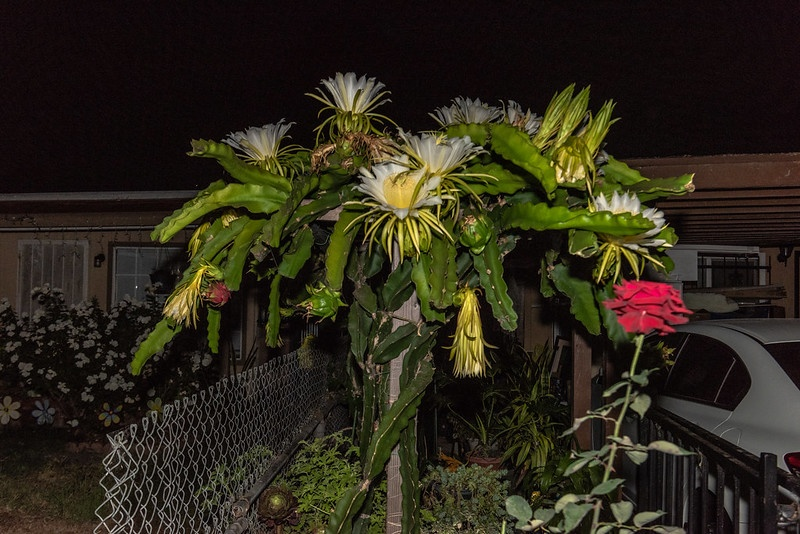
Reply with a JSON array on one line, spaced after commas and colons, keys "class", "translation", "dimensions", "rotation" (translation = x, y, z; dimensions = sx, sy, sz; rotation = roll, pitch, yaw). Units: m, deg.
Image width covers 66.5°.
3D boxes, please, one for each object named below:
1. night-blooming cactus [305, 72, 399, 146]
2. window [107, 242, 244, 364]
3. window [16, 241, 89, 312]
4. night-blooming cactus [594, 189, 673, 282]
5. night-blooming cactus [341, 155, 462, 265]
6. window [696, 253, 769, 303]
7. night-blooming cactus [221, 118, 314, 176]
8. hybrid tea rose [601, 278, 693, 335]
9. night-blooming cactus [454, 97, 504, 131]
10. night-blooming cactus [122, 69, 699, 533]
[{"class": "night-blooming cactus", "translation": [-0.328, -1.084, 4.216], "dimensions": [0.522, 0.511, 0.548], "rotation": [2, 11, 3]}, {"class": "window", "translation": [-2.825, 0.454, 7.417], "dimensions": [2.011, 2.029, 0.086], "rotation": [0, -7, -1]}, {"class": "window", "translation": [-5.880, 0.165, 10.343], "dimensions": [1.147, 1.415, 0.070], "rotation": [0, -4, 3]}, {"class": "night-blooming cactus", "translation": [1.557, -0.216, 4.226], "dimensions": [0.569, 0.443, 0.584], "rotation": [13, 11, 37]}, {"class": "night-blooming cactus", "translation": [0.033, -0.418, 4.168], "dimensions": [0.624, 0.655, 0.700], "rotation": [1, -14, -46]}, {"class": "window", "translation": [5.609, 0.158, 10.169], "dimensions": [0.768, 0.870, 0.064], "rotation": [0, 6, 10]}, {"class": "night-blooming cactus", "translation": [-0.982, -0.866, 4.446], "dimensions": [0.590, 0.309, 0.598], "rotation": [-16, -5, 15]}, {"class": "hybrid tea rose", "translation": [1.591, 0.259, 3.933], "dimensions": [0.498, 0.347, 0.308], "rotation": [1, -2, 19]}, {"class": "night-blooming cactus", "translation": [0.558, -1.104, 4.279], "dimensions": [0.256, 0.137, 0.259], "rotation": [5, -1, 1]}, {"class": "night-blooming cactus", "translation": [0.087, 0.289, 4.257], "dimensions": [3.262, 3.238, 0.632], "rotation": [2, -2, 1]}]
